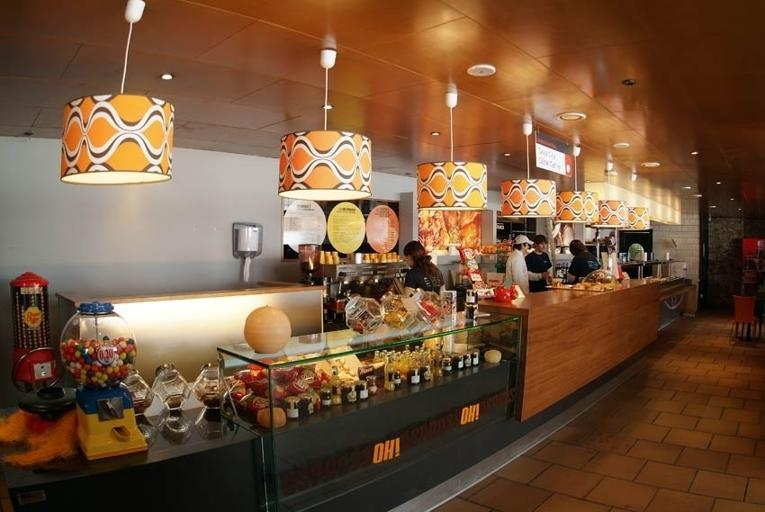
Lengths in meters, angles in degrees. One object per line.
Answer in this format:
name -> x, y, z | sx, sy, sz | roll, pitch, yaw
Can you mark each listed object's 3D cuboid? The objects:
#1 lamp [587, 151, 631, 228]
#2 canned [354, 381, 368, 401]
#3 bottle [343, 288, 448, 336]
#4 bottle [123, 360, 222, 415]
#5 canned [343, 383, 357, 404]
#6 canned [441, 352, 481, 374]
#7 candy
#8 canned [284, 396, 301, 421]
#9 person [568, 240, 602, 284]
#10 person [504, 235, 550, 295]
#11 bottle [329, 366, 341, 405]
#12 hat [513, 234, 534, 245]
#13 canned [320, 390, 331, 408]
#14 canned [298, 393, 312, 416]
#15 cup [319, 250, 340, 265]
lamp -> 4.163, -1.080, 10.055 | 1.064, 0.819, 1.146 | -1, -2, 27
canned -> -0.153, 0.985, 3.931 | 0.127, 0.129, 0.121 | 0, 1, 0
bottle -> 0.095, 0.445, 4.449 | 0.818, 0.300, 0.300 | -10, -37, -24
bottle -> -1.502, 0.939, 3.799 | 0.678, 0.229, 0.223 | 3, -45, -27
canned -> -0.235, 0.992, 3.881 | 0.126, 0.115, 0.124 | 0, -1, 8
canned -> 0.667, 0.907, 4.592 | 0.149, 0.109, 0.300 | -4, -5, 38
candy -> -1.726, 0.603, 3.243 | 0.350, 0.222, 0.335 | -1, 1, -28
canned -> -0.598, 1.007, 3.568 | 0.134, 0.138, 0.130 | 0, 1, 14
person -> 3.211, 0.094, 8.580 | 0.752, 0.707, 0.439 | 4, -6, -44
person -> 2.159, 0.180, 8.025 | 0.605, 0.915, 1.826 | 4, 8, 17
bottle -> -0.332, 0.916, 3.816 | 0.074, 0.270, 0.054 | -1, 8, -19
hat -> 2.536, -0.297, 9.752 | 0.418, 0.199, 0.307 | -8, 7, -34
canned -> -0.389, 0.999, 3.772 | 0.106, 0.113, 0.103 | 0, 3, 4
canned -> -0.523, 1.002, 3.641 | 0.131, 0.119, 0.122 | -1, -1, 31
cup -> -0.778, 0.029, 7.850 | 0.193, 0.243, 0.253 | -3, -4, -16
